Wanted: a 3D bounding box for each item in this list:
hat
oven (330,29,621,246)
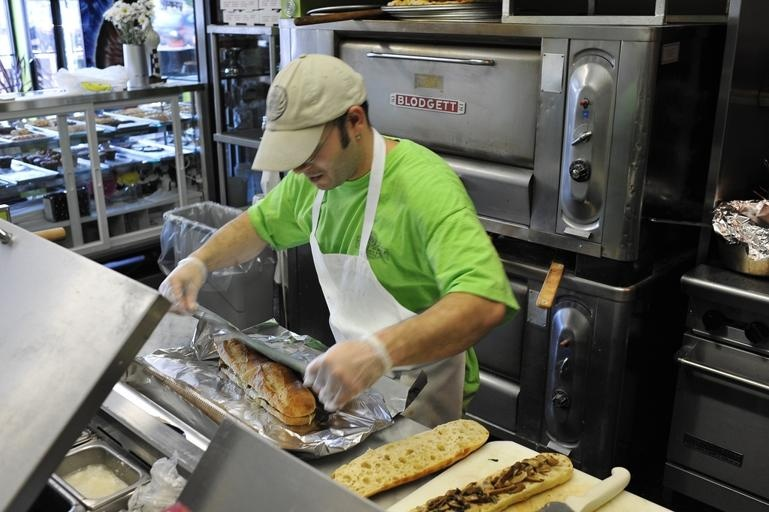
[{"bbox_3d":[-0.225,-0.426,1.428,0.342,0.314,0.212,-4,21,-5],"label":"hat"},{"bbox_3d":[0.542,-0.844,2.639,1.566,1.005,0.841,17,47,29],"label":"oven"}]
